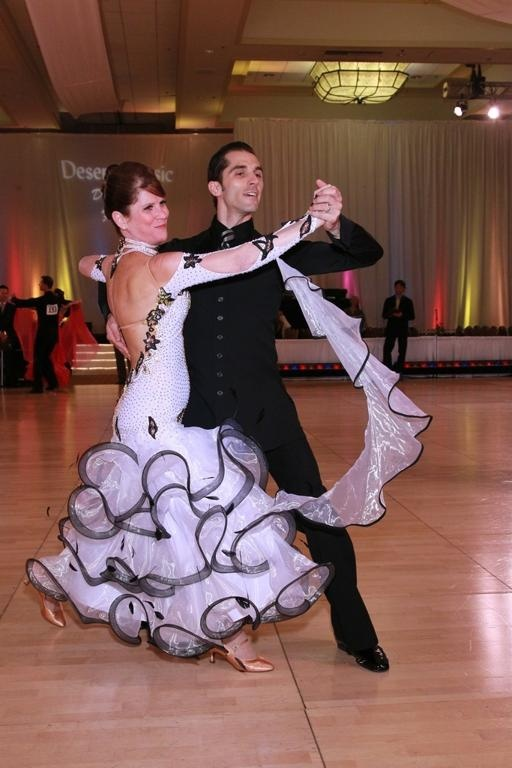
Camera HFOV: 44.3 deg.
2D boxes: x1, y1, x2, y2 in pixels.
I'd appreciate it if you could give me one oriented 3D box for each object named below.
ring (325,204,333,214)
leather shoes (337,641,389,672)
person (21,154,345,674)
[{"bbox_3d":[0.165,-0.396,1.418,0.012,0.016,0.004,-4,18,1],"label":"ring"},{"bbox_3d":[0.288,0.722,1.685,0.051,0.051,0.126,-4,1,-41],"label":"leather shoes"},{"bbox_3d":[-0.178,-0.029,2.182,1.161,1.645,1.145,-5,13,-19],"label":"person"}]
